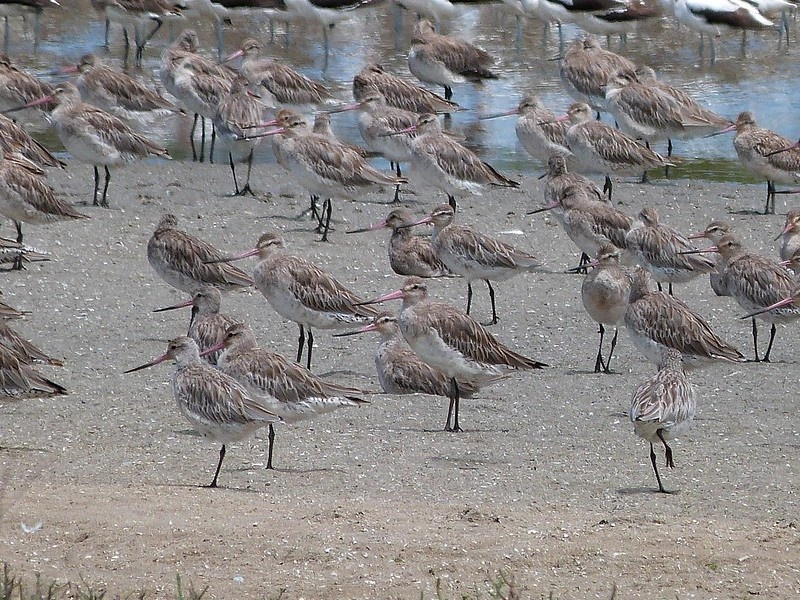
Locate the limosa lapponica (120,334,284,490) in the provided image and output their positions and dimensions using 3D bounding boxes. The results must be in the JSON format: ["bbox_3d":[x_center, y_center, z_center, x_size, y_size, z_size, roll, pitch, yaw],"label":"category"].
[{"bbox_3d":[-1.683,0.981,9.270,1.573,1.209,0.519,-1,-5,27],"label":"limosa lapponica"}]

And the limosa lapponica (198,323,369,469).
[{"bbox_3d":[-1.163,0.884,9.771,1.802,1.205,0.663,5,-7,-27],"label":"limosa lapponica"}]
